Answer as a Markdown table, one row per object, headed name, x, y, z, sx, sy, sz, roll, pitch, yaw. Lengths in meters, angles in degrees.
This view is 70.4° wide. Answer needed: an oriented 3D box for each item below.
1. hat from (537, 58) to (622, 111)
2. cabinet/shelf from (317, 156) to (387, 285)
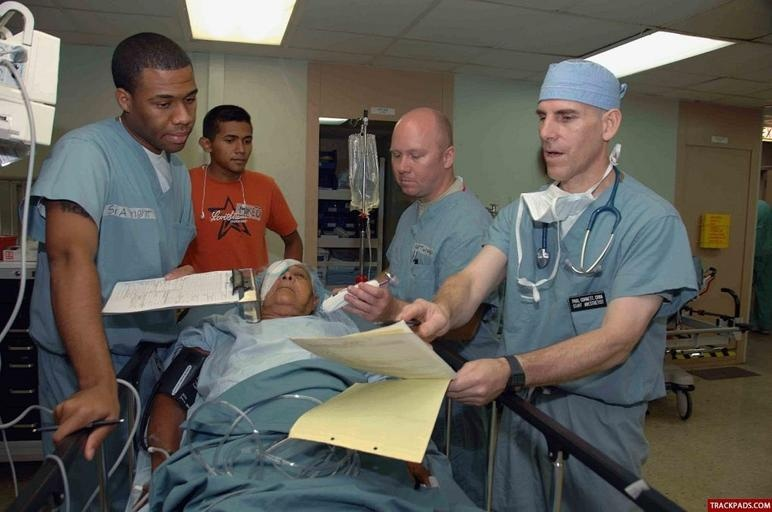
| name | x | y | z | sx | sy | sz | roll | pitch | yaw |
| --- | --- | --- | --- | --- | --- | --- | --- | --- | --- |
| hat | 0.853 | -0.728 | 2.380 | 0.287 | 0.159 | 0.225 | 22 | -1 | -9 |
| cabinet/shelf | -0.405 | -0.333 | 4.924 | 0.458 | 1.049 | 0.278 | -2 | 34 | 0 |
